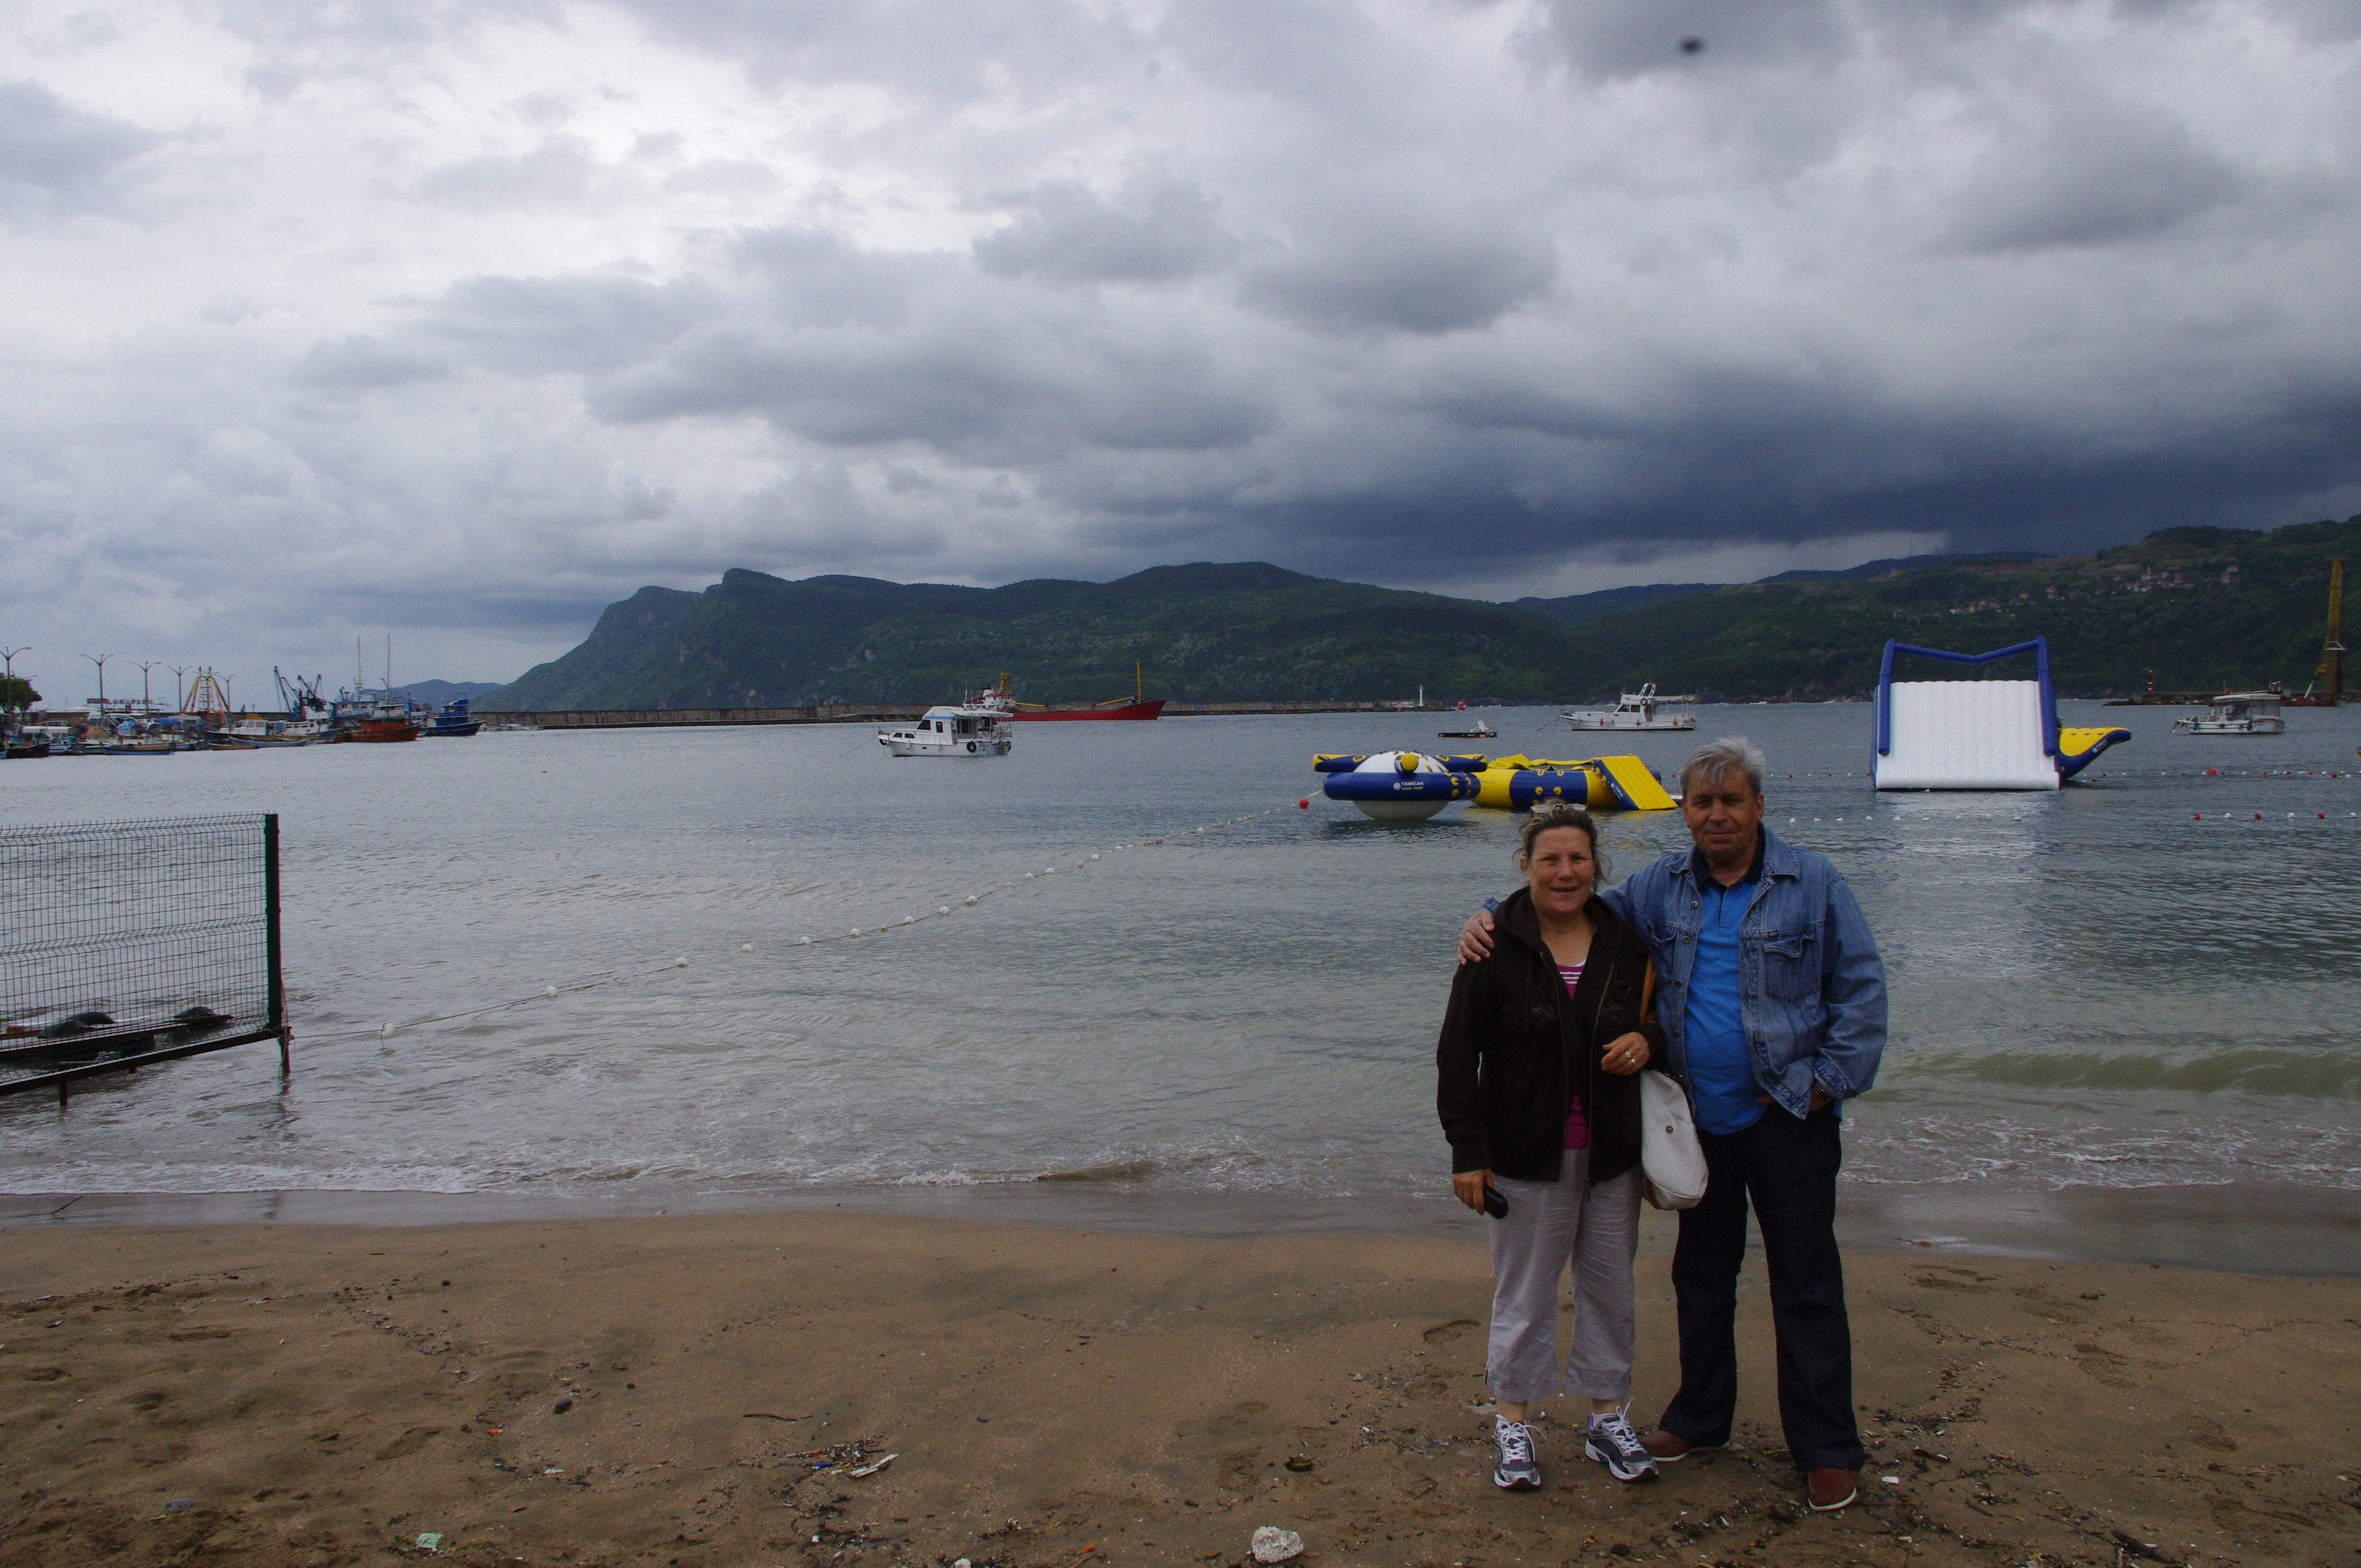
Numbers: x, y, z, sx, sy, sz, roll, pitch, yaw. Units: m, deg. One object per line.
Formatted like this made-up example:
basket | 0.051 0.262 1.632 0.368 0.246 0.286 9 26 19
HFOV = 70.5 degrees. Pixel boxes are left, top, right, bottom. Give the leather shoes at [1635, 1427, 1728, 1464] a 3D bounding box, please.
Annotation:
leather shoes | 2.789 3.631 9.222 0.492 0.179 0.162 6 -4 -4

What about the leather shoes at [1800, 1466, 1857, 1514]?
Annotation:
leather shoes | 3.424 3.707 8.814 0.288 0.225 0.240 0 1 18

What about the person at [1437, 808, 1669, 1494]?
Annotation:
person | 1.961 1.932 8.859 1.074 3.630 0.490 -1 1 11

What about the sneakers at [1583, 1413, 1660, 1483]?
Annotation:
sneakers | 2.372 3.591 9.029 0.220 0.209 0.472 -2 -4 -20
